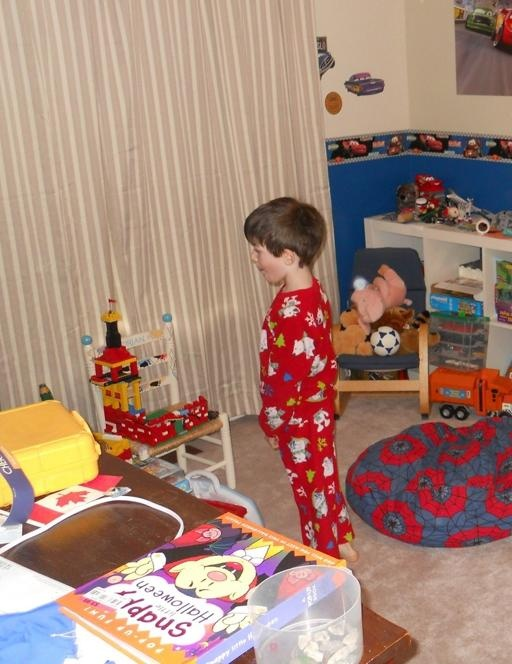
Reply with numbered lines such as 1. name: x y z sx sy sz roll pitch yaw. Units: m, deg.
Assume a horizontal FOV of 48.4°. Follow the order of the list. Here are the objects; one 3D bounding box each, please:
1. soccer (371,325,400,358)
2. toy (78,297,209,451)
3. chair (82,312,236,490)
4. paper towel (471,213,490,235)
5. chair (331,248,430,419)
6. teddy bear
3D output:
1. soccer: 0.855 0.065 3.760 0.195 0.185 0.093 -9 11 10
2. toy: -0.539 0.202 2.883 0.530 0.648 0.452 -12 12 -31
3. chair: -0.498 0.431 2.940 0.555 0.873 0.509 -14 19 -40
4. paper towel: 1.569 -0.743 4.013 0.153 0.147 0.171 -9 8 27
5. chair: 0.900 0.038 4.080 0.835 1.017 0.845 5 -15 -14
6. teddy bear: 0.847 -0.111 4.041 0.553 0.666 0.315 5 -29 2
